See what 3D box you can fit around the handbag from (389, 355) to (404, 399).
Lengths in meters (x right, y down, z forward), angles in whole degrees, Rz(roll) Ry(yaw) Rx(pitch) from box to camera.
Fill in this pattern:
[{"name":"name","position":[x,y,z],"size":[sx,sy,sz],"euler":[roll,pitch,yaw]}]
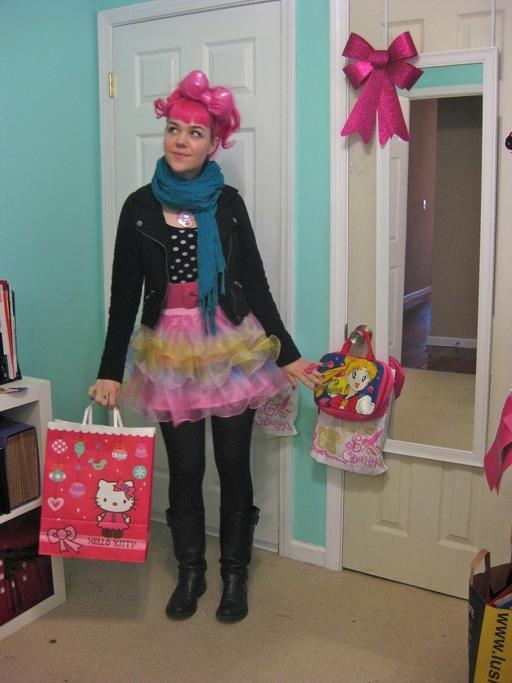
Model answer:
[{"name":"handbag","position":[0.421,0.107,1.645],"size":[0.063,0.098,0.034],"euler":[1,-24,6]}]

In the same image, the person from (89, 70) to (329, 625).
[{"name":"person","position":[-0.149,0.051,1.506],"size":[0.597,1.474,0.304],"euler":[-1,4,-18]}]

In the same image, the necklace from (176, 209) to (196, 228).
[{"name":"necklace","position":[-0.185,-0.315,1.437],"size":[0.052,0.046,0.029],"euler":[0,4,-2]}]

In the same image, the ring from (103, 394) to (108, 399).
[{"name":"ring","position":[-0.380,0.139,1.371],"size":[0.010,0.012,0.003],"euler":[-2,2,-17]}]

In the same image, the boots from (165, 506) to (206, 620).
[{"name":"boots","position":[-0.197,0.634,1.573],"size":[0.082,0.255,0.174],"euler":[-1,1,9]}]

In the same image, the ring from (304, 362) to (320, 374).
[{"name":"ring","position":[0.157,0.076,1.540],"size":[0.023,0.010,0.036],"euler":[16,53,16]}]

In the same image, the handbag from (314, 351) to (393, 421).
[{"name":"handbag","position":[0.286,0.130,1.578],"size":[0.160,0.156,0.055],"euler":[12,2,12]}]

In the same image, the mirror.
[{"name":"mirror","position":[0.505,-0.196,1.542],"size":[0.315,1.134,0.174],"euler":[3,5,27]}]
